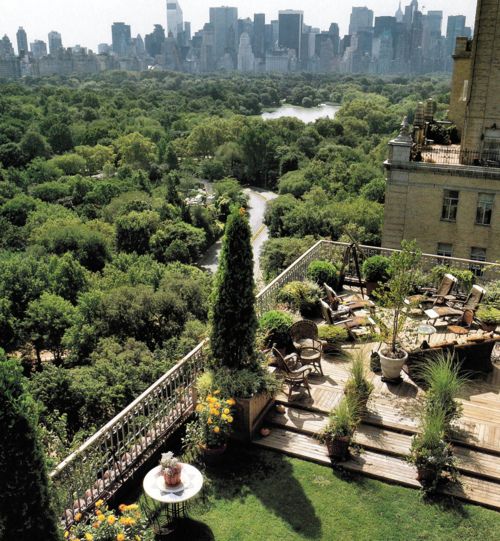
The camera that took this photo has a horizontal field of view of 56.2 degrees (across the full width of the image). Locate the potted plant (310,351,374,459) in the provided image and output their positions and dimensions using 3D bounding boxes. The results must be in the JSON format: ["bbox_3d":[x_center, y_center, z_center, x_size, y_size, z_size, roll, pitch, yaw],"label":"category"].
[{"bbox_3d":[1.710,2.545,8.593,0.767,2.009,0.622,13,28,20],"label":"potted plant"}]

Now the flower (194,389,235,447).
[{"bbox_3d":[-0.522,2.437,7.760,0.787,1.089,0.747,2,9,-1],"label":"flower"}]

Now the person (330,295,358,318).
[{"bbox_3d":[2.532,1.033,12.353,0.568,0.850,0.596,2,38,7],"label":"person"}]

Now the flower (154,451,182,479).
[{"bbox_3d":[-1.084,2.588,6.258,0.287,0.387,0.252,-3,-16,-4],"label":"flower"}]
